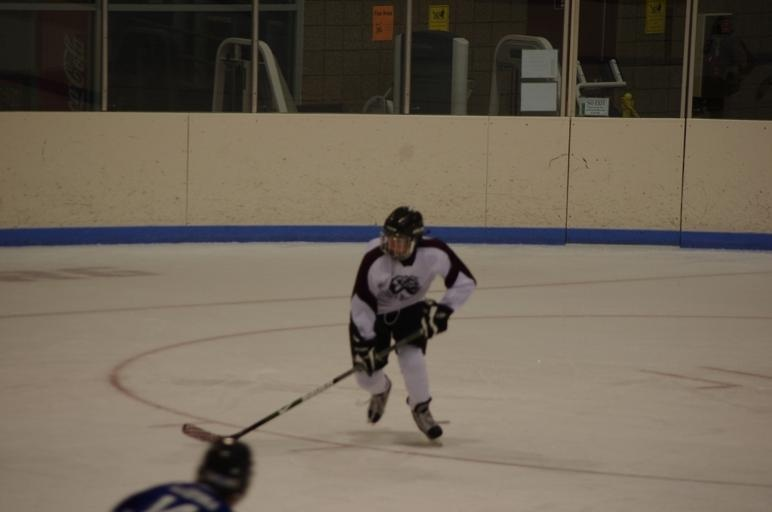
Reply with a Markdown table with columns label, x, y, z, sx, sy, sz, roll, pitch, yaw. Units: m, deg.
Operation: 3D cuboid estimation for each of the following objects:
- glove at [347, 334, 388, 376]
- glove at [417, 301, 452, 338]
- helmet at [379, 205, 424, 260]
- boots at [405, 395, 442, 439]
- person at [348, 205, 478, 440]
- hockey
| label | x | y | z | sx | sy | sz | roll | pitch | yaw |
| --- | --- | --- | --- | --- | --- | --- | --- | --- | --- |
| glove | -0.134 | 0.698 | 7.927 | 0.222 | 0.242 | 0.281 | 12 | 20 | 41 |
| glove | 0.354 | 0.460 | 7.901 | 0.239 | 0.261 | 0.221 | 5 | 9 | 19 |
| helmet | 0.126 | -0.147 | 7.818 | 0.292 | 0.361 | 0.158 | 3 | 8 | 3 |
| boots | 0.268 | 1.168 | 7.875 | 0.087 | 0.183 | 0.251 | -20 | 60 | -24 |
| person | 0.154 | 0.527 | 8.002 | 0.829 | 1.728 | 0.786 | 3 | 15 | 15 |
| hockey | -0.603 | 1.007 | 8.225 | 1.193 | 0.134 | 0.298 | -25 | 49 | -5 |
